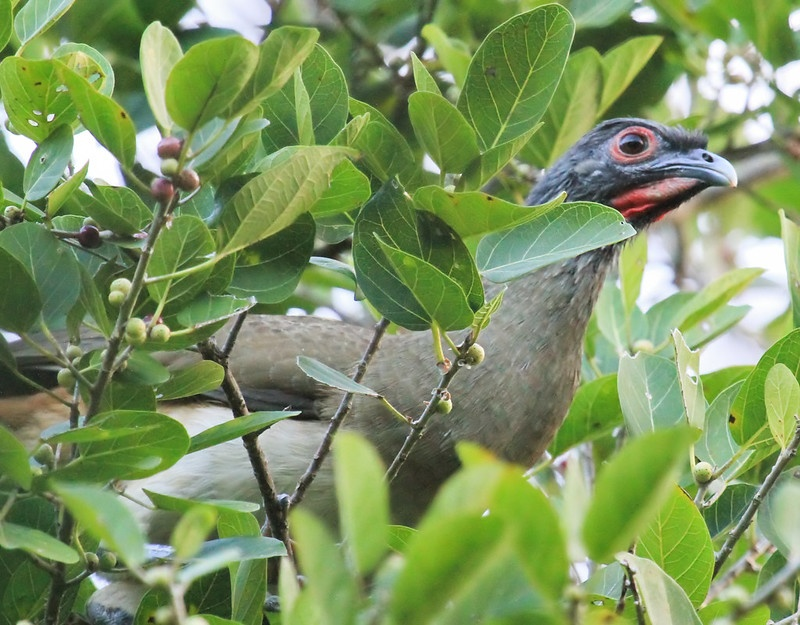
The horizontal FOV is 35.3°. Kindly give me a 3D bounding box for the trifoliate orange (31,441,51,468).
[{"bbox_3d":[-1.009,0.403,3.563,0.046,0.056,0.073,-10,66,-39],"label":"trifoliate orange"}]

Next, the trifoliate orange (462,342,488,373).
[{"bbox_3d":[0.239,0.149,4.109,0.078,0.093,0.073,43,5,-4],"label":"trifoliate orange"}]

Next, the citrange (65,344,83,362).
[{"bbox_3d":[-0.974,0.124,3.753,0.041,0.054,0.039,-4,58,5],"label":"citrange"}]

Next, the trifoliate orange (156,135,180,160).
[{"bbox_3d":[-0.618,-0.440,3.358,0.051,0.051,0.064,-5,16,-5],"label":"trifoliate orange"}]

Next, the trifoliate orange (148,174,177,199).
[{"bbox_3d":[-0.624,-0.342,3.368,0.060,0.069,0.058,1,27,13],"label":"trifoliate orange"}]

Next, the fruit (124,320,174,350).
[{"bbox_3d":[-0.698,0.050,3.505,0.057,0.062,0.138,4,0,19],"label":"fruit"}]
